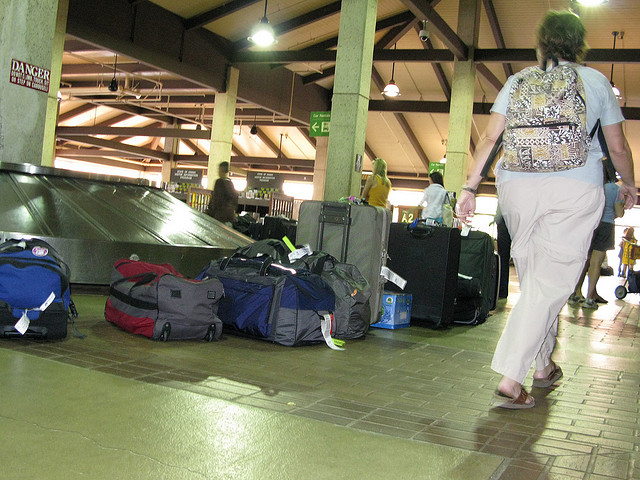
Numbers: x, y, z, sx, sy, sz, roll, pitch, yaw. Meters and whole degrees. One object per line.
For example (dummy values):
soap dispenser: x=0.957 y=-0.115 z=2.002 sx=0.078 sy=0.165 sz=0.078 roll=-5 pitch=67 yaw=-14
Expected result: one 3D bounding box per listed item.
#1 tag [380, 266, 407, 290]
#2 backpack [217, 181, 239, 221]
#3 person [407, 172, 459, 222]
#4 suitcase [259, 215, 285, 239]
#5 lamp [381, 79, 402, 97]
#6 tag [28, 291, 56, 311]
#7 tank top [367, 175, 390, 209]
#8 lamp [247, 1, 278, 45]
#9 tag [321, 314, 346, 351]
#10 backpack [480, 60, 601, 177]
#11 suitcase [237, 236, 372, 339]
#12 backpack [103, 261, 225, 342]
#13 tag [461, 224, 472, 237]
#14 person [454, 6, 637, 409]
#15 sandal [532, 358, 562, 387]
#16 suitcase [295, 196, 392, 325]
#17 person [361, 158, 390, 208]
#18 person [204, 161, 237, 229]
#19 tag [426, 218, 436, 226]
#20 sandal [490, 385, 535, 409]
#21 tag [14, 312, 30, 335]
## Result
tag: x=0.663 y=0.334 z=4.324 sx=0.229 sy=0.196 sz=0.198 roll=5 pitch=0 yaw=28
backpack: x=-1.616 y=-0.677 z=8.606 sx=0.252 sy=0.651 sz=0.821 roll=5 pitch=0 yaw=4
person: x=1.801 y=-0.426 z=7.904 sx=0.614 sy=1.335 sz=0.406 roll=3 pitch=5 yaw=-1
suitcase: x=-0.877 y=-0.242 z=8.770 sx=0.388 sy=0.699 sz=0.377 roll=1 pitch=5 yaw=-29
lamp: x=2.142 y=-4.563 z=14.239 sx=0.378 sy=0.569 sz=0.853 roll=5 pitch=0 yaw=12
tag: x=-1.674 y=0.379 z=2.905 sx=0.038 sy=0.049 sz=0.162 roll=-9 pitch=31 yaw=43
tank top: x=0.809 y=-0.657 z=6.807 sx=0.249 sy=0.459 sz=0.358 roll=0 pitch=-5 yaw=42
lamp: x=-1.289 y=-4.824 z=11.013 sx=0.516 sy=0.833 sz=0.329 roll=6 pitch=0 yaw=18
tag: x=0.100 y=0.682 z=3.535 sx=0.198 sy=0.255 sz=0.096 roll=6 pitch=1 yaw=40
backpack: x=1.152 y=-0.645 z=2.496 sx=0.524 sy=0.553 sz=0.327 roll=4 pitch=19 yaw=34
suitcase: x=-0.122 y=0.361 z=4.147 sx=1.106 sy=0.601 sz=0.711 roll=8 pitch=3 yaw=27
backpack: x=-1.168 y=0.472 z=3.664 sx=0.622 sy=0.450 sz=0.928 roll=6 pitch=-2 yaw=-38
tag: x=1.586 y=-0.112 z=5.165 sx=0.028 sy=0.114 sz=0.116 roll=27 pitch=-17 yaw=-5
person: x=1.215 y=-0.203 z=2.597 sx=0.912 sy=2.196 sz=0.459 roll=5 pitch=1 yaw=-7
sandal: x=1.399 y=0.819 z=2.966 sx=0.086 sy=0.108 sz=0.261 roll=4 pitch=11 yaw=41
suitcase: x=0.195 y=0.197 z=4.085 sx=1.138 sy=1.208 sz=0.437 roll=3 pitch=1 yaw=25
person: x=0.795 y=-0.828 z=6.669 sx=0.365 sy=0.722 sz=1.153 roll=5 pitch=0 yaw=7
person: x=-1.717 y=-0.746 z=8.502 sx=0.564 sy=1.353 sz=0.552 roll=-18 pitch=46 yaw=-31
tag: x=1.179 y=-0.195 z=5.109 sx=0.089 sy=0.085 sz=0.151 roll=4 pitch=3 yaw=-3
sandal: x=0.976 y=0.811 z=2.455 sx=0.227 sy=0.085 sz=0.102 roll=-1 pitch=6 yaw=-22
tag: x=-1.760 y=0.500 z=2.848 sx=0.076 sy=0.097 sz=0.040 roll=26 pitch=7 yaw=28
